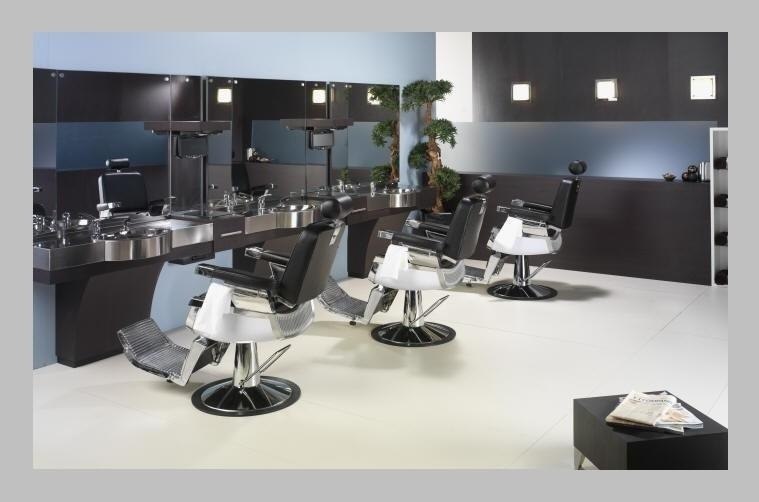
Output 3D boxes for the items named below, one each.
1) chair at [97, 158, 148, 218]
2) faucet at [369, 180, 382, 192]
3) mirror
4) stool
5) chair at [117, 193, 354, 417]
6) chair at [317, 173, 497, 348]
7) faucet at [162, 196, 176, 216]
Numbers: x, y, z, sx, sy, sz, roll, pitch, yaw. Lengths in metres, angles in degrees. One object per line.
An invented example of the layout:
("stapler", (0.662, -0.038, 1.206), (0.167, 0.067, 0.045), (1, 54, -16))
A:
("chair", (-2.124, -0.533, 4.450), (0.452, 0.430, 0.340), (6, 8, 42))
("faucet", (-0.047, -0.837, 6.816), (0.115, 0.083, 0.191), (1, 4, 10))
("mirror", (-1.295, -0.849, 4.910), (3.133, 0.660, 0.024), (-6, 16, -30))
("stool", (1.391, 0.810, 2.712), (0.480, 0.312, 0.651), (-4, 8, -11))
("chair", (-1.128, 0.361, 3.953), (1.727, 1.402, 0.974), (4, 5, 20))
("chair", (0.221, 0.077, 5.017), (1.643, 1.437, 1.096), (2, 8, 22))
("faucet", (-1.813, -0.393, 4.637), (0.180, 0.167, 0.099), (10, 9, 38))
